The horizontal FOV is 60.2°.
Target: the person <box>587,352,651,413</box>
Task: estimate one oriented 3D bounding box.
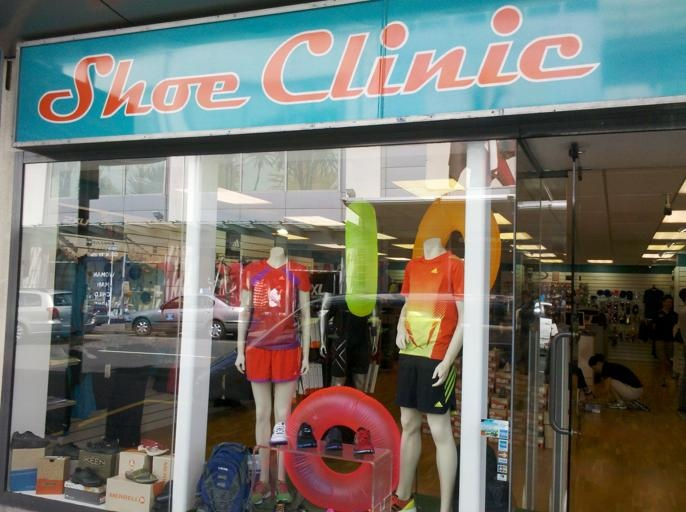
[{"bbox_3d":[3.992,1.814,8.646,0.599,0.962,0.877,1,-3,-44],"label":"person"}]

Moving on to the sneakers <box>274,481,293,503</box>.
[{"bbox_3d":[-0.402,1.630,4.046,0.078,0.083,0.178,5,-12,-16],"label":"sneakers"}]

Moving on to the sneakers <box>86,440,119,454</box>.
[{"bbox_3d":[-1.780,1.414,4.432,0.263,0.102,0.099,5,-20,13],"label":"sneakers"}]

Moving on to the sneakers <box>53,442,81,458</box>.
[{"bbox_3d":[-2.097,1.464,4.460,0.182,0.092,0.107,14,1,20],"label":"sneakers"}]

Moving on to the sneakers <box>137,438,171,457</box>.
[{"bbox_3d":[-1.384,1.397,4.279,0.224,0.081,0.111,15,18,25],"label":"sneakers"}]

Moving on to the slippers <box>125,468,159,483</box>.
[{"bbox_3d":[-1.456,1.576,4.235,0.244,0.109,0.056,5,-1,10],"label":"slippers"}]

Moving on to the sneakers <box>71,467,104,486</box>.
[{"bbox_3d":[-1.885,1.585,4.323,0.201,0.098,0.127,2,-2,24],"label":"sneakers"}]

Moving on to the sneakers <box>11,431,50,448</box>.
[{"bbox_3d":[-2.400,1.408,4.549,0.300,0.141,0.104,2,-8,-12],"label":"sneakers"}]

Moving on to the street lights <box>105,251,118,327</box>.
[{"bbox_3d":[-1.767,0.245,4.506,0.182,0.566,0.038,4,-1,29],"label":"street lights"}]

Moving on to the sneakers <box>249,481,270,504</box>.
[{"bbox_3d":[-0.575,1.640,4.077,0.075,0.094,0.196,-4,-14,14],"label":"sneakers"}]

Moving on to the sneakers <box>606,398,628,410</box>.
[{"bbox_3d":[3.850,2.080,8.282,0.283,0.141,0.119,-3,-3,5],"label":"sneakers"}]
